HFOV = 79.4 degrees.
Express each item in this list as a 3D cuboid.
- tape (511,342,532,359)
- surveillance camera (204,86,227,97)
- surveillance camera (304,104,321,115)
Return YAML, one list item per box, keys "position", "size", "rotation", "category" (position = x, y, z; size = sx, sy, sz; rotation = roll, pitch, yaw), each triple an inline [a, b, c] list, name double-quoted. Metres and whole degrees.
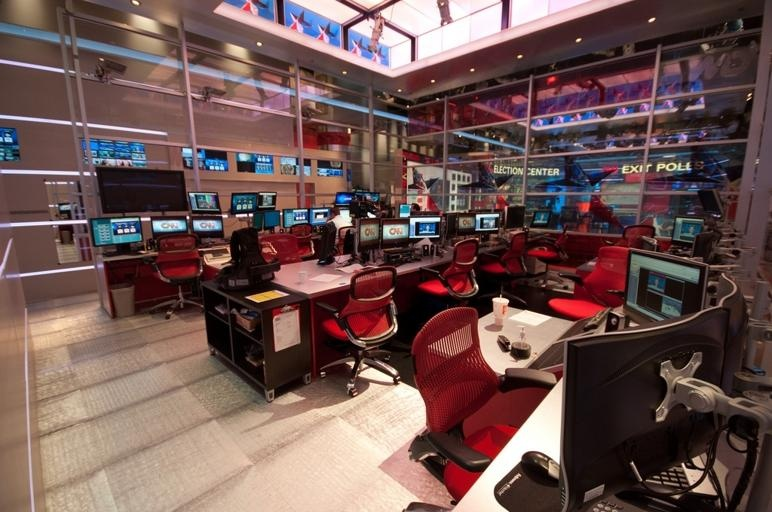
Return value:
- position: [1.500, 1.034, 5.208]
  size: [0.184, 0.095, 0.174]
  rotation: [-5, 8, -20]
  category: "tape"
- position: [-3.441, -3.298, 9.370]
  size: [0.141, 0.211, 0.612]
  rotation: [2, 10, 14]
  category: "surveillance camera"
- position: [-1.747, -3.482, 11.099]
  size: [0.072, 0.243, 0.294]
  rotation: [2, 3, 35]
  category: "surveillance camera"
